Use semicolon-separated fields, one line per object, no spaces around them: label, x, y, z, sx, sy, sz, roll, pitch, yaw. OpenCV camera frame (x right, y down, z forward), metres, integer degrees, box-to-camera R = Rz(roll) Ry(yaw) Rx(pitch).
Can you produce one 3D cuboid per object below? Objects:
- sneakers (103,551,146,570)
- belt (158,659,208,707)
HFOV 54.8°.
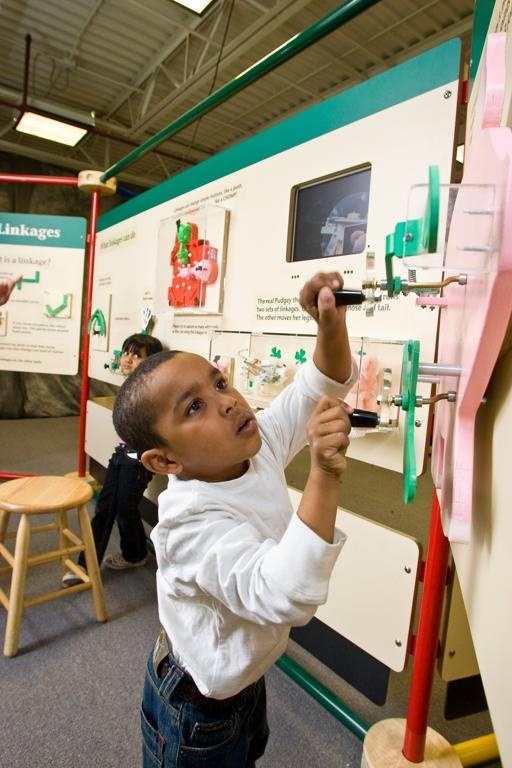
sneakers;-0.560;0.742;2.059;0.138;0.061;0.067;-2;7;-4
belt;-0.107;0.434;0.737;0.024;0.066;0.048;-43;1;-26
